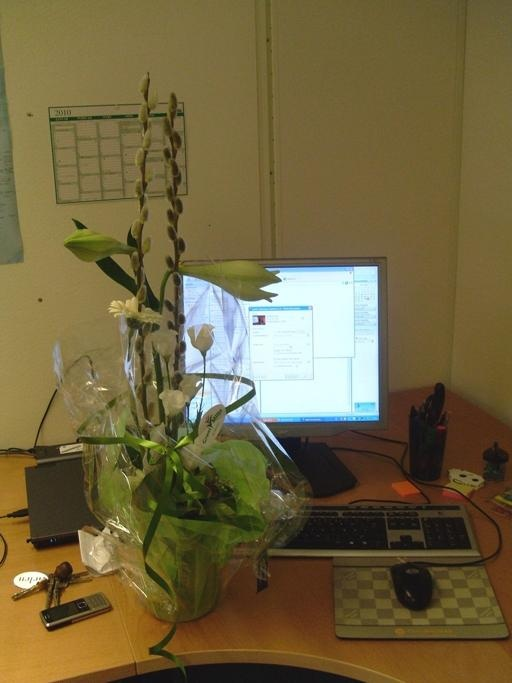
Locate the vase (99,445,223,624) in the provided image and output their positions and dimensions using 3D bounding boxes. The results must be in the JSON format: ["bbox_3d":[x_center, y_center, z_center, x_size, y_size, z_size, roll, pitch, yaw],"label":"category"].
[{"bbox_3d":[-0.067,0.250,0.818,0.194,0.215,0.294,-2,19,-12],"label":"vase"}]

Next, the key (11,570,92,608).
[{"bbox_3d":[-0.312,0.376,0.867,0.085,0.024,0.081,-10,21,-40],"label":"key"}]

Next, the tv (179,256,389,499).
[{"bbox_3d":[0.117,0.109,1.116,0.377,0.488,0.153,-1,19,-8],"label":"tv"}]

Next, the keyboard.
[{"bbox_3d":[0.188,0.328,0.973,0.354,0.040,0.176,-4,8,12],"label":"keyboard"}]

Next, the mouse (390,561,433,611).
[{"bbox_3d":[0.223,0.344,0.810,0.058,0.039,0.069,2,15,13],"label":"mouse"}]
